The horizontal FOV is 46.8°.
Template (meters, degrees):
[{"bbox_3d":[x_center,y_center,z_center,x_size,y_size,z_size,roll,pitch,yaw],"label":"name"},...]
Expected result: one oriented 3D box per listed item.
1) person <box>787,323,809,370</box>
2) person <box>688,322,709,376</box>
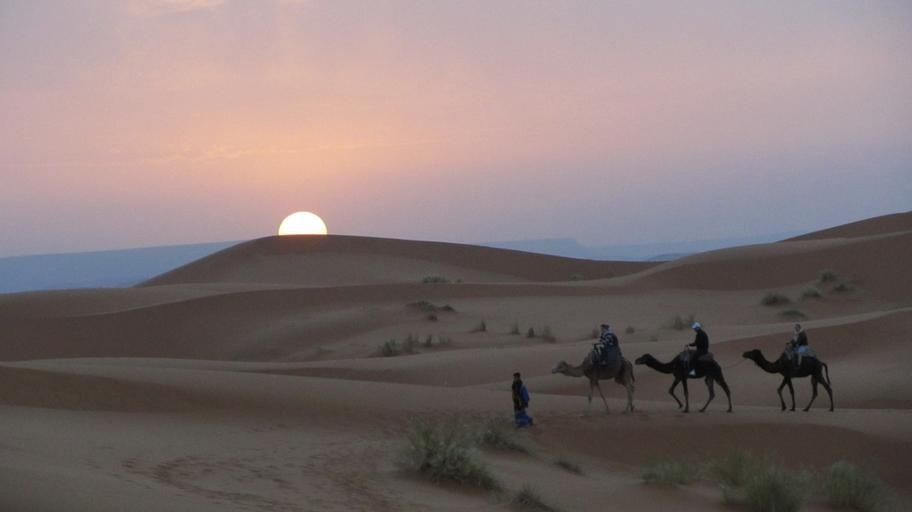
[{"bbox_3d":[13.255,3.400,40.978,0.817,1.586,1.201,-1,1,16],"label":"person"},{"bbox_3d":[9.288,3.550,40.484,0.675,2.055,1.105,-1,1,13],"label":"person"}]
